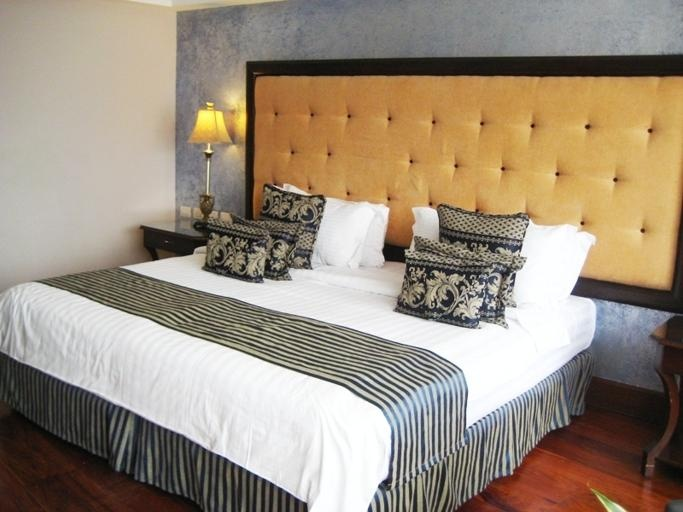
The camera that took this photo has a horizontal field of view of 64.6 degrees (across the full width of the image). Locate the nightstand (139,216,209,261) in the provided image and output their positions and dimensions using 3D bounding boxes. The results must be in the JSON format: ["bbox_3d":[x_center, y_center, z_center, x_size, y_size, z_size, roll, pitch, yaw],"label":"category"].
[{"bbox_3d":[-1.450,-0.160,4.699,0.570,0.508,0.387,10,13,41],"label":"nightstand"}]
